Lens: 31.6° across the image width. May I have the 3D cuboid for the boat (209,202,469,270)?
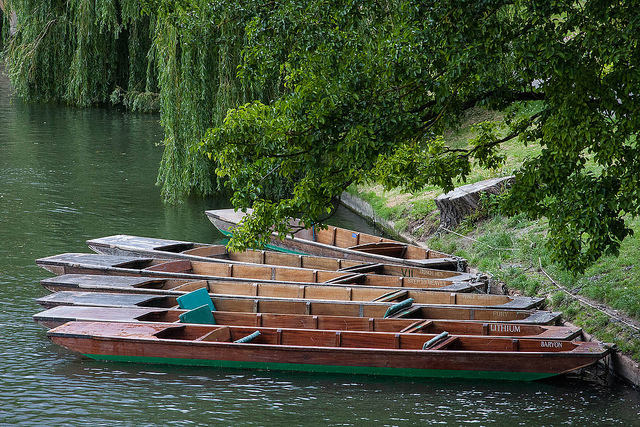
[{"bbox_3d":[0.231,0.203,31.352,9.244,0.884,2.345,8,22,24],"label":"boat"}]
